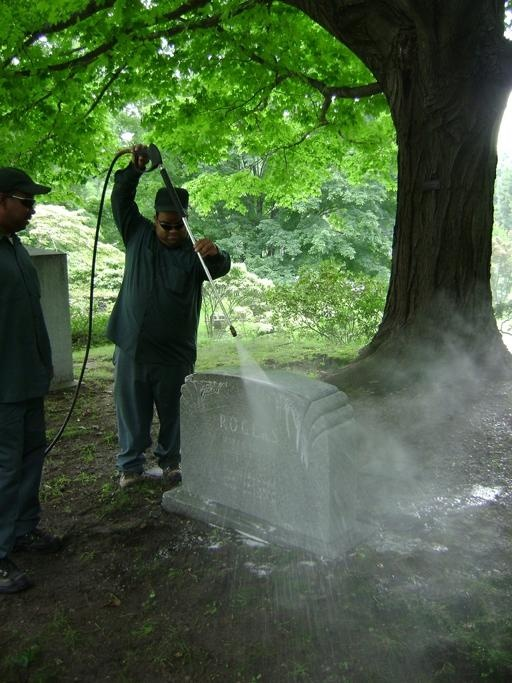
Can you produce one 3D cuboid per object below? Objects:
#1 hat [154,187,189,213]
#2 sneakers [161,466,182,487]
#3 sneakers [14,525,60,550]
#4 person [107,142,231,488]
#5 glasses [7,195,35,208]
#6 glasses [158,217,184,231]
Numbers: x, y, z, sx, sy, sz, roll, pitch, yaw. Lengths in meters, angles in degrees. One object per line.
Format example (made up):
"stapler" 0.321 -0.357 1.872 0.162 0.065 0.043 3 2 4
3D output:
"hat" -0.545 -0.918 3.906 0.195 0.121 0.248 -2 7 -18
"sneakers" -0.586 0.924 4.149 0.117 0.043 0.113 -10 11 -33
"sneakers" -1.182 1.070 3.331 0.249 0.108 0.101 -3 6 -10
"person" -0.649 -0.112 4.008 0.642 2.199 0.482 2 4 -12
"glasses" -1.157 -0.703 3.025 0.062 0.018 0.060 31 17 26
"glasses" -0.547 -0.759 3.933 0.157 0.075 0.062 2 4 -11
